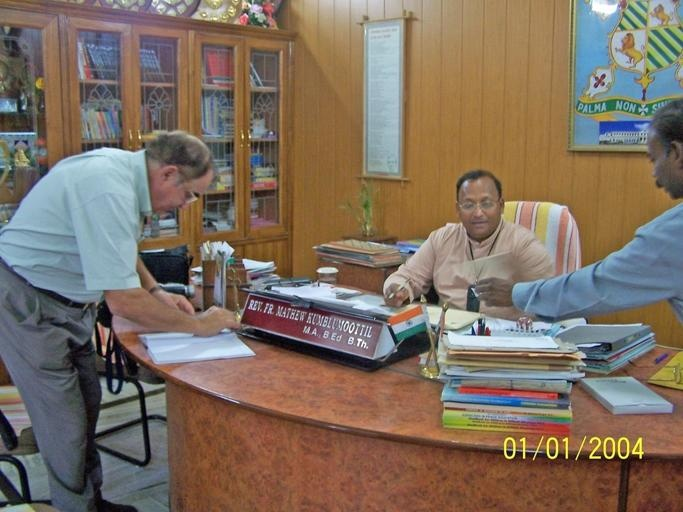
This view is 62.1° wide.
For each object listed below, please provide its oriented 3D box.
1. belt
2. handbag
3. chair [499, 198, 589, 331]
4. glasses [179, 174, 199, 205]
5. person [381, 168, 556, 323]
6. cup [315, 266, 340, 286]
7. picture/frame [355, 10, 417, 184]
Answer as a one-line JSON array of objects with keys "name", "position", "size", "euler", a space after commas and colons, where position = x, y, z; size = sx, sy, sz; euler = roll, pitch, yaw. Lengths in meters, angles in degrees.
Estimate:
[{"name": "belt", "position": [-1.139, 0.114, 2.179], "size": [0.222, 0.053, 0.205], "euler": [41, 19, -9]}, {"name": "handbag", "position": [-0.912, 0.121, 3.033], "size": [0.602, 0.380, 0.653], "euler": [2, 19, -15]}, {"name": "chair", "position": [1.164, -0.019, 3.398], "size": [0.483, 0.779, 0.563], "euler": [-1, 0, 19]}, {"name": "glasses", "position": [-0.582, -0.255, 2.199], "size": [0.029, 0.101, 0.090], "euler": [2, 6, -25]}, {"name": "person", "position": [0.641, 0.165, 2.891], "size": [0.818, 1.203, 0.625], "euler": [2, 1, 21]}, {"name": "cup", "position": [-0.066, 0.099, 2.952], "size": [0.117, 0.110, 0.115], "euler": [0, 8, 0]}, {"name": "picture/frame", "position": [0.374, -1.318, 4.708], "size": [0.460, 1.322, 0.103], "euler": [9, 14, 41]}]
